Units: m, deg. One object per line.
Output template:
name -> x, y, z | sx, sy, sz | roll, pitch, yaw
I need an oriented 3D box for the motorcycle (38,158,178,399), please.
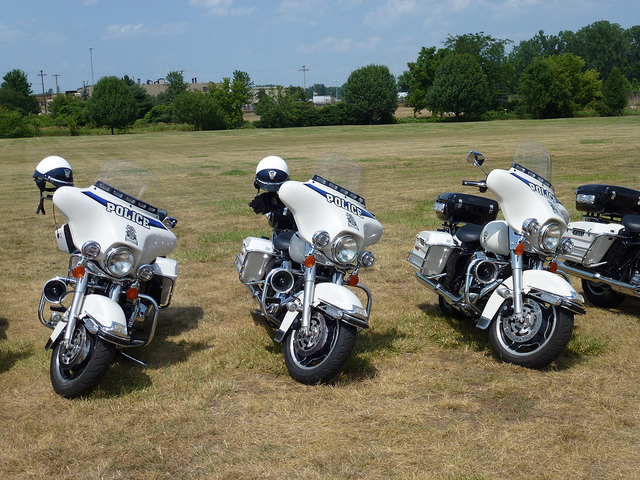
motorcycle -> -2.568, 0.369, 7.735 | 1.240, 2.478, 1.750 | 3, 12, 13

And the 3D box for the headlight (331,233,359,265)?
headlight -> 0.274, 0.093, 7.476 | 0.287, 0.350, 0.322 | 0, 0, -23

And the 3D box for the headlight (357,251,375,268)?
headlight -> 0.572, 0.223, 7.724 | 0.164, 0.242, 0.230 | 19, 7, 38

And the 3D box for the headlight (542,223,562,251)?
headlight -> 2.768, -0.047, 7.762 | 0.311, 0.330, 0.064 | -7, 14, -31

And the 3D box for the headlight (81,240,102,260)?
headlight -> -2.570, 0.099, 7.287 | 0.168, 0.237, 0.213 | -7, 55, -14

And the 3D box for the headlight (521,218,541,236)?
headlight -> 2.498, -0.168, 7.720 | 0.164, 0.190, 0.196 | 0, -1, -2

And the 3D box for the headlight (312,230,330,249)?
headlight -> 0.001, -0.010, 7.448 | 0.151, 0.206, 0.182 | -11, 17, -43
